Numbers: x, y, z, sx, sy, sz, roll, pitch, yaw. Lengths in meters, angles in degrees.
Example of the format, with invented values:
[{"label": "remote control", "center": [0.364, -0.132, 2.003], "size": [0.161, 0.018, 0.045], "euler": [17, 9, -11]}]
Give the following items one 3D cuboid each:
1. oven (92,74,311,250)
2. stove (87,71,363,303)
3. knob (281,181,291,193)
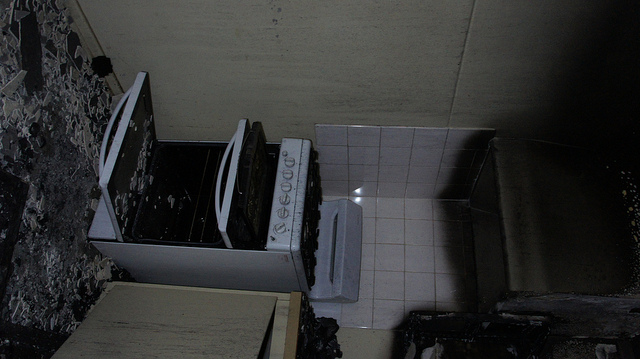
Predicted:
[{"label": "oven", "center": [-0.820, 0.178, 3.997], "size": [1.580, 1.549, 0.841], "euler": [4, 56, 4]}, {"label": "stove", "center": [-0.764, 0.048, 3.949], "size": [1.548, 0.759, 1.814], "euler": [1, -20, 3]}, {"label": "knob", "center": [-0.246, 0.041, 3.836], "size": [0.068, 0.066, 0.043], "euler": [1, 15, -6]}]
